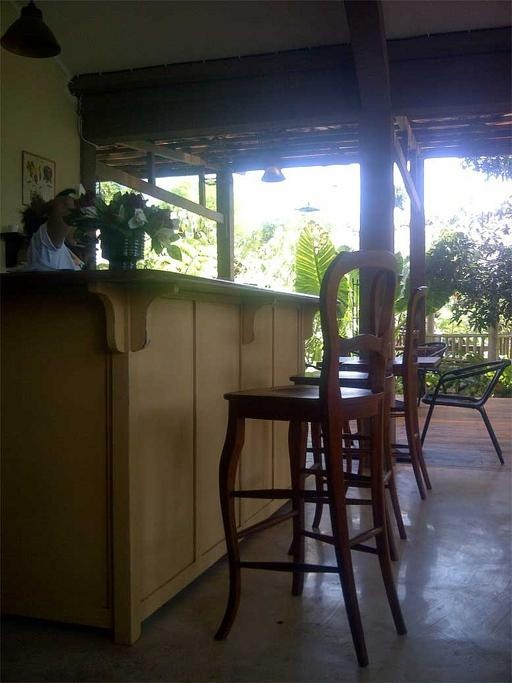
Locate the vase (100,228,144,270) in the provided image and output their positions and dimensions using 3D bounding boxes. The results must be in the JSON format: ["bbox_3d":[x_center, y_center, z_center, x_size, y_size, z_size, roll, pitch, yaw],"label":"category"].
[{"bbox_3d":[-0.373,-0.258,1.637,0.092,0.131,0.107,1,6,0],"label":"vase"}]

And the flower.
[{"bbox_3d":[-0.378,-0.329,1.712,0.229,0.200,0.261,2,7,-3],"label":"flower"}]
